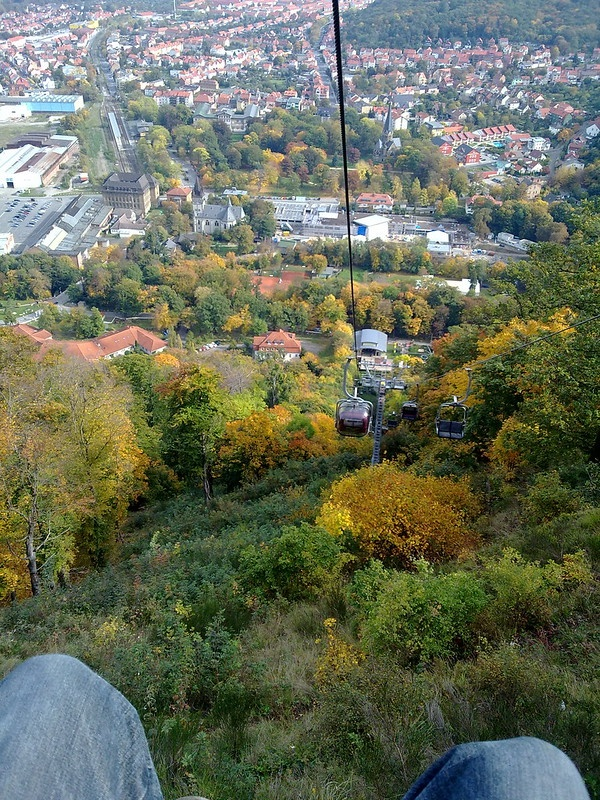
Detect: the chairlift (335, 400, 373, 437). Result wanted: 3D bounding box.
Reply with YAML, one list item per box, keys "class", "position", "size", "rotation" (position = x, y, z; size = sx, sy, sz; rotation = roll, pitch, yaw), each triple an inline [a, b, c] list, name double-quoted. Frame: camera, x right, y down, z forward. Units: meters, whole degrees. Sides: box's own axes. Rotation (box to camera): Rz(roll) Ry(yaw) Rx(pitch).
- class: "chairlift"
  position: [1.047, 0.319, 15.013]
  size: [0.572, 0.548, 0.833]
  rotation: [1, 19, 4]
